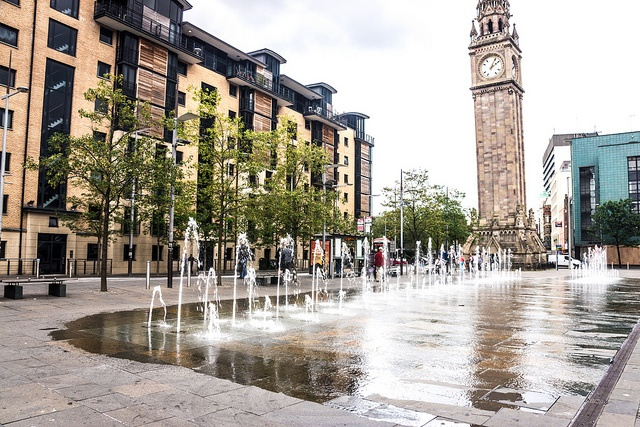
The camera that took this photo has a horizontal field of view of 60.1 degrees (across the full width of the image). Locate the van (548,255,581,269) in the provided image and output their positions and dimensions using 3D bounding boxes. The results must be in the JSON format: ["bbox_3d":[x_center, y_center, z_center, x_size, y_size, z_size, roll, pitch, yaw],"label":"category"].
[{"bbox_3d":[28.899,5.811,65.440,3.897,1.563,1.903,-2,-3,18],"label":"van"}]

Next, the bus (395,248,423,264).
[{"bbox_3d":[14.149,6.224,87.981,3.484,2.357,5.417,-3,-8,29],"label":"bus"}]

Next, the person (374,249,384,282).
[{"bbox_3d":[3.608,2.918,34.035,0.541,1.311,1.065,1,8,6],"label":"person"}]
